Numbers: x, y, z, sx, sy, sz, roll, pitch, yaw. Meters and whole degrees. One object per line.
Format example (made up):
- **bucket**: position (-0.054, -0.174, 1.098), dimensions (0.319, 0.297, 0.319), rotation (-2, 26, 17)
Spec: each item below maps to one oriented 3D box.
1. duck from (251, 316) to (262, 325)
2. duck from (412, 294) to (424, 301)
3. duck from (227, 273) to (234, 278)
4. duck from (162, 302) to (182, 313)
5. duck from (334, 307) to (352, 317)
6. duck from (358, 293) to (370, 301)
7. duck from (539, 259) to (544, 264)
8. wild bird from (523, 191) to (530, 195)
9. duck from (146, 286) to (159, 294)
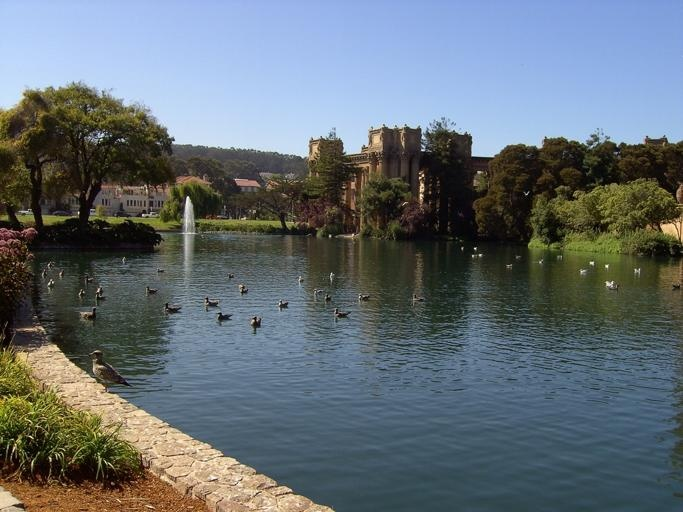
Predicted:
- **duck**: position (-3.616, 2.688, 26.315), dimensions (0.379, 0.340, 0.460), rotation (0, 6, -17)
- **duck**: position (3.955, 2.164, 33.588), dimensions (0.320, 0.356, 0.551), rotation (2, 1, 36)
- **duck**: position (-7.779, 1.330, 43.799), dimensions (0.230, 0.354, 0.675), rotation (0, 2, -7)
- **duck**: position (-7.868, 2.354, 28.945), dimensions (0.802, 0.509, 0.512), rotation (2, 4, -5)
- **duck**: position (-0.017, 2.546, 28.704), dimensions (0.681, 0.429, 0.340), rotation (3, 3, -12)
- **duck**: position (1.118, 2.167, 33.472), dimensions (0.555, 0.286, 0.855), rotation (3, 6, 10)
- **duck**: position (19.593, 0.454, 61.816), dimensions (0.265, 0.344, 0.673), rotation (5, 14, 16)
- **wild bird**: position (28.700, -9.832, 97.729), dimensions (1.013, 0.632, 0.330), rotation (-2, 7, -32)
- **duck**: position (-10.424, 1.786, 34.335), dimensions (0.405, 0.464, 0.714), rotation (0, -5, 30)
